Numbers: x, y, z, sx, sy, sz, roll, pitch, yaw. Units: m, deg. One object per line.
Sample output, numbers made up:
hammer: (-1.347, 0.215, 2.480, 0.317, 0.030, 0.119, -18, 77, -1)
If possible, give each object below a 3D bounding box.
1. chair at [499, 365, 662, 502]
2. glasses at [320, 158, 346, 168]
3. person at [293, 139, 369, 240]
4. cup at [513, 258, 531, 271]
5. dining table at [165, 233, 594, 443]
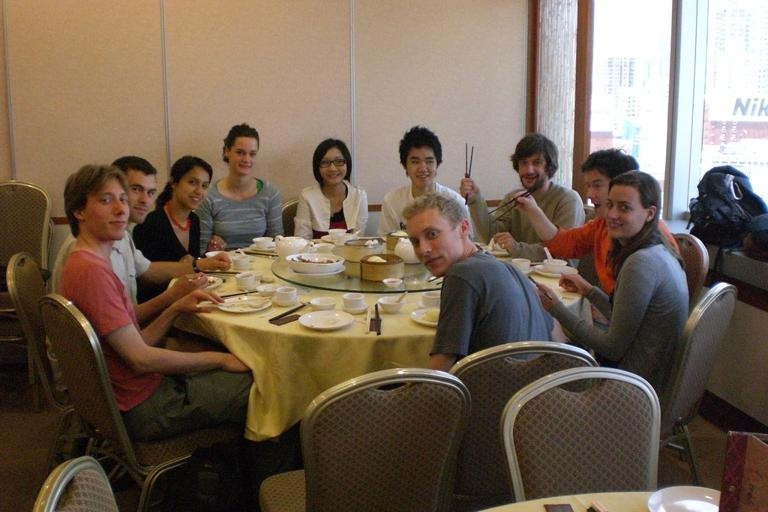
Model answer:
chair: (0.664, 0.583, 2.080, 0.460, 0.459, 0.377, 4, 14, -1)
glasses: (-0.400, -0.714, 4.488, 0.193, 0.067, 0.080, -3, 14, -7)
person: (-0.412, -0.468, 4.547, 0.591, 0.847, 0.562, -4, 7, -21)
cup: (0.778, 0.046, 3.249, 0.090, 0.060, 0.086, -1, 6, 0)
dining table: (-0.219, 0.253, 3.097, 1.230, 0.913, 1.361, -1, 7, -5)
